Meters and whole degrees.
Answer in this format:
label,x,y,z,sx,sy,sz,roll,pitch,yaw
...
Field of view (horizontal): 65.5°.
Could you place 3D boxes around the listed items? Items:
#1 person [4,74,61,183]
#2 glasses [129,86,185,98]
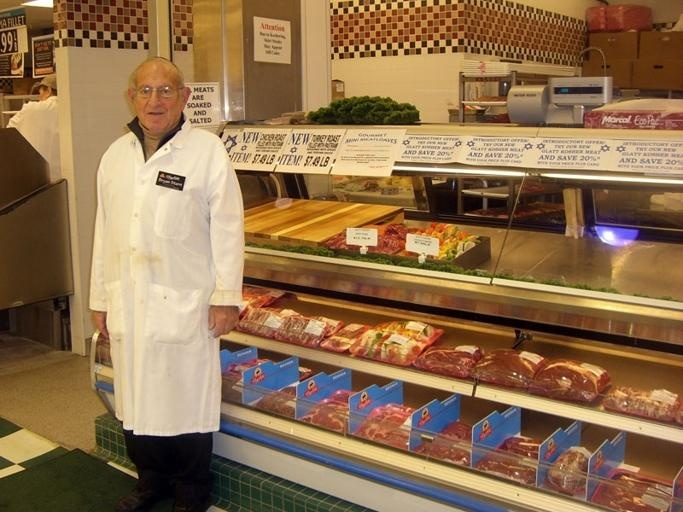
label,x,y,z,sx,sy,sz,roll,pitch,yaw
person,-2.892,-1.228,5.054,0.484,0.969,0.848,-11,19,-25
glasses,-0.767,-0.684,2.223,0.191,0.047,0.097,-6,17,-16
